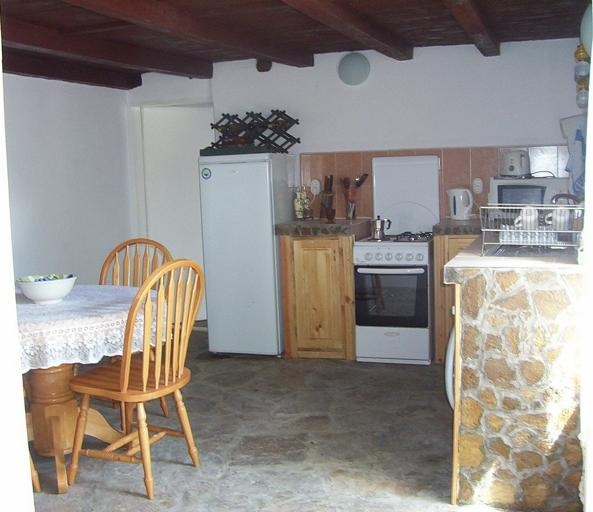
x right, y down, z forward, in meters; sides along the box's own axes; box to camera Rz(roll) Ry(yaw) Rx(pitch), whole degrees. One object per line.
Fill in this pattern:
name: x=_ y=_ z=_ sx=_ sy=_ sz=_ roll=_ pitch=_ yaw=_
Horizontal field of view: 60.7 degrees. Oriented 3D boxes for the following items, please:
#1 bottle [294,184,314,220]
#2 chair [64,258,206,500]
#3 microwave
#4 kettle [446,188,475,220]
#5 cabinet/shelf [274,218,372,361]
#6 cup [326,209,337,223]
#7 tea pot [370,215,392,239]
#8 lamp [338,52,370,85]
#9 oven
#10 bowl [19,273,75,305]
bottle: x=0.065 y=-0.510 z=4.826 sx=0.177 sy=0.312 sz=0.263 roll=-1 pitch=6 yaw=9
chair: x=-0.870 y=0.559 z=2.727 sx=0.724 sy=1.141 sz=1.060 roll=-4 pitch=7 yaw=-22
microwave: x=1.625 y=-0.465 z=3.594 sx=0.507 sy=0.330 sz=0.317 roll=2 pitch=31 yaw=16
kettle: x=1.387 y=-0.435 z=4.277 sx=0.267 sy=0.269 sz=0.200 roll=5 pitch=7 yaw=38
cabinet/shelf: x=0.206 y=0.247 z=4.666 sx=0.925 sy=1.688 sz=1.048 roll=0 pitch=4 yaw=12
cup: x=0.312 y=-0.365 z=4.605 sx=0.102 sy=0.121 sz=0.105 roll=0 pitch=0 yaw=0
tea pot: x=0.753 y=-0.244 z=4.450 sx=0.136 sy=0.259 sz=0.249 roll=-1 pitch=-3 yaw=45
lamp: x=0.534 y=-1.728 z=4.687 sx=0.279 sy=0.294 sz=0.068 roll=1 pitch=8 yaw=19
oven: x=0.830 y=0.393 z=4.358 sx=0.621 sy=0.950 sz=0.613 roll=0 pitch=12 yaw=12
bowl: x=-1.281 y=0.163 z=2.614 sx=0.178 sy=0.086 sz=0.183 roll=0 pitch=0 yaw=0
